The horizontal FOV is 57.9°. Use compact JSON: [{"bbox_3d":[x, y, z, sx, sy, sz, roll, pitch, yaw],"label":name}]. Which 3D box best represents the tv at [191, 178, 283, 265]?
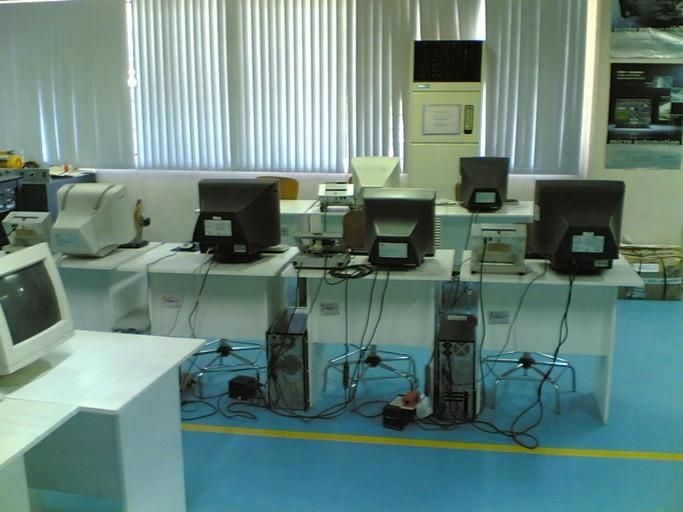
[{"bbox_3d":[-0.620,-0.313,4.250,0.684,0.640,0.537,3,18,12],"label":"tv"}]

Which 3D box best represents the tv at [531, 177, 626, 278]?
[{"bbox_3d":[1.464,-0.168,3.846,0.589,0.572,0.318,1,21,9],"label":"tv"}]

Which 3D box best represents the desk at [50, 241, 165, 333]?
[{"bbox_3d":[-1.648,0.213,4.558,0.649,0.580,0.639,3,16,10],"label":"desk"}]

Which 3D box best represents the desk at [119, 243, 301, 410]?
[{"bbox_3d":[-0.901,0.448,4.485,0.860,0.731,0.646,2,11,16],"label":"desk"}]

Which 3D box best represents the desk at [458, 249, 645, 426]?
[{"bbox_3d":[1.313,0.665,4.503,1.418,1.263,0.945,2,19,10],"label":"desk"}]

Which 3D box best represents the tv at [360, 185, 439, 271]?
[{"bbox_3d":[0.368,-0.188,3.995,0.452,0.475,0.225,-1,14,3],"label":"tv"}]

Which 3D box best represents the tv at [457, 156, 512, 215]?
[{"bbox_3d":[1.262,-0.656,5.530,0.414,0.435,0.242,1,14,11],"label":"tv"}]

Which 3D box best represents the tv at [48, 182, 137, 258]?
[{"bbox_3d":[-1.676,-0.289,4.390,0.542,0.508,0.523,3,13,11],"label":"tv"}]

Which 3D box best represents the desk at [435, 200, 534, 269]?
[{"bbox_3d":[1.245,-0.039,5.494,0.989,0.662,0.523,0,9,7],"label":"desk"}]

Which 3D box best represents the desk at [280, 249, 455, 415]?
[{"bbox_3d":[0.191,0.294,4.471,1.367,1.216,0.953,1,17,6],"label":"desk"}]
